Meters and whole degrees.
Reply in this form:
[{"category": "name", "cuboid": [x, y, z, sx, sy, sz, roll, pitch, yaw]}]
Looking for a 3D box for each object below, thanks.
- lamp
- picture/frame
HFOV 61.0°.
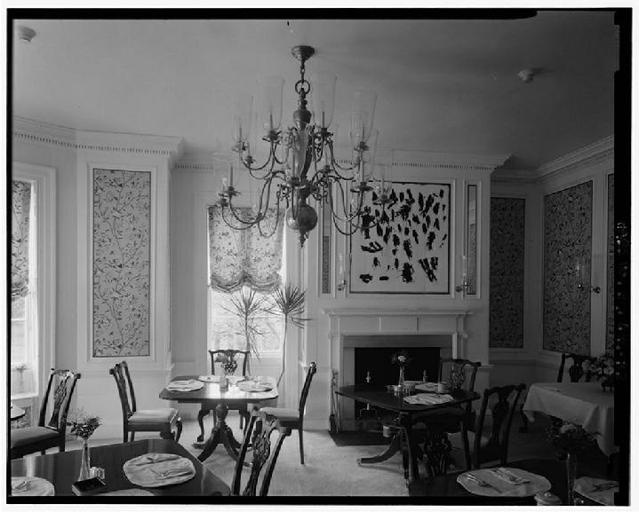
[{"category": "lamp", "cuboid": [-0.115, -0.842, 4.090, 1.164, 1.425, 1.251, 0, -3, -19]}, {"category": "picture/frame", "cuboid": [0.920, -0.192, 6.532, 1.208, 1.479, 0.113, 1, -1, -1]}]
